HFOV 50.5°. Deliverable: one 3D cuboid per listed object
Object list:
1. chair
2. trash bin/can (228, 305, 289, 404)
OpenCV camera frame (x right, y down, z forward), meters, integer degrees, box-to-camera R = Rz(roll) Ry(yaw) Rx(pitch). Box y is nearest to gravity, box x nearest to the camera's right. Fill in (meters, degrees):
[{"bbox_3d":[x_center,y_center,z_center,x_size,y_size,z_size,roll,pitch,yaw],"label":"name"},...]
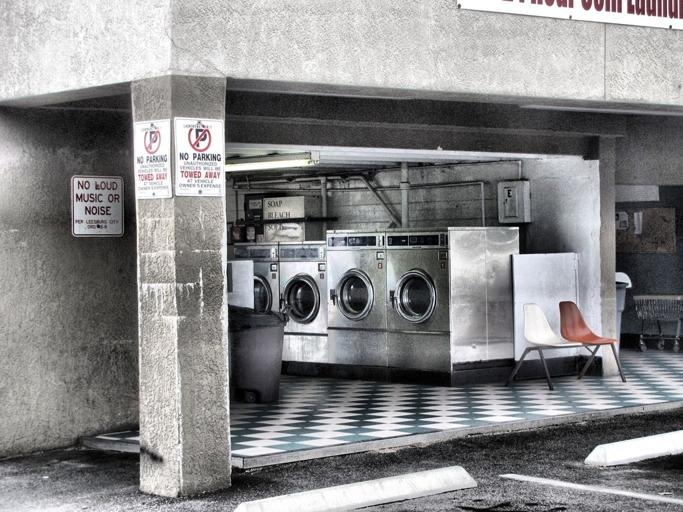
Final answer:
[{"bbox_3d":[3.209,1.365,10.083,1.350,1.318,1.374,5,3,21],"label":"chair"},{"bbox_3d":[-1.050,1.225,9.078,0.667,1.195,0.337,-1,2,-11],"label":"trash bin/can"}]
